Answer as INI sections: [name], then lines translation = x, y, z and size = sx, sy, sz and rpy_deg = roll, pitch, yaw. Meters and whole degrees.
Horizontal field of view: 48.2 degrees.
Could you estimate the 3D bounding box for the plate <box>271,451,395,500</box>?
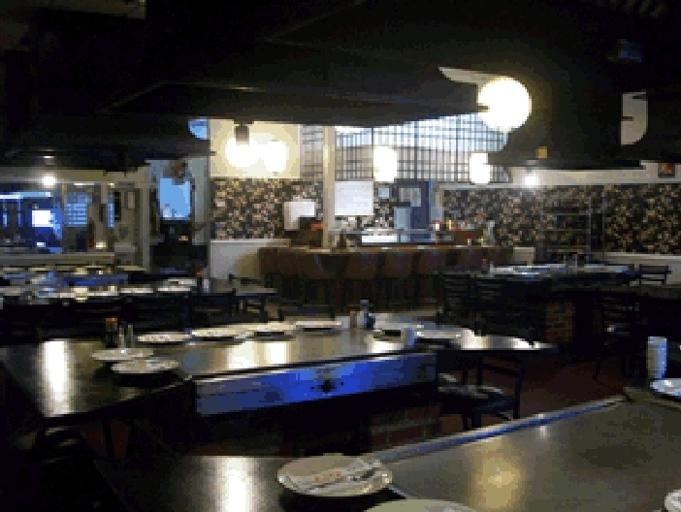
[plate]
translation = -0.018, 0.704, 2.472
size = 0.362, 0.059, 0.316
rpy_deg = -1, 5, 4
